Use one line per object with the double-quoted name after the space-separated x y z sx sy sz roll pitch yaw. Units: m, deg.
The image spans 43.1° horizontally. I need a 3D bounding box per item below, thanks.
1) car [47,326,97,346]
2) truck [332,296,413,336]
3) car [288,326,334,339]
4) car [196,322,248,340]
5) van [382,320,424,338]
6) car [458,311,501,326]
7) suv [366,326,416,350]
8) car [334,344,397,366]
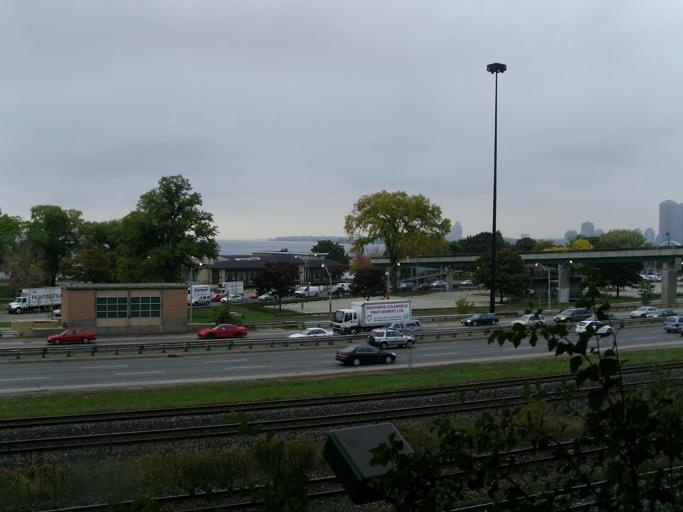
-18.223 5.475 58.371 3.062 0.882 1.259 2 -2 -15 "car"
2.237 4.712 65.952 7.083 2.500 2.298 -4 6 -18 "truck"
-1.971 5.543 61.049 2.743 0.703 1.136 2 -4 -19 "car"
-8.640 5.481 62.216 2.828 0.724 1.333 3 -4 -19 "car"
4.643 5.152 62.213 2.234 0.791 0.925 3 -3 -19 "van"
11.169 5.114 69.519 2.886 0.795 1.181 1 -3 -6 "car"
3.331 5.567 57.769 2.896 0.999 1.292 -3 5 -15 "suv"
1.461 5.866 50.993 3.221 0.894 1.318 -2 1 -18 "car"
